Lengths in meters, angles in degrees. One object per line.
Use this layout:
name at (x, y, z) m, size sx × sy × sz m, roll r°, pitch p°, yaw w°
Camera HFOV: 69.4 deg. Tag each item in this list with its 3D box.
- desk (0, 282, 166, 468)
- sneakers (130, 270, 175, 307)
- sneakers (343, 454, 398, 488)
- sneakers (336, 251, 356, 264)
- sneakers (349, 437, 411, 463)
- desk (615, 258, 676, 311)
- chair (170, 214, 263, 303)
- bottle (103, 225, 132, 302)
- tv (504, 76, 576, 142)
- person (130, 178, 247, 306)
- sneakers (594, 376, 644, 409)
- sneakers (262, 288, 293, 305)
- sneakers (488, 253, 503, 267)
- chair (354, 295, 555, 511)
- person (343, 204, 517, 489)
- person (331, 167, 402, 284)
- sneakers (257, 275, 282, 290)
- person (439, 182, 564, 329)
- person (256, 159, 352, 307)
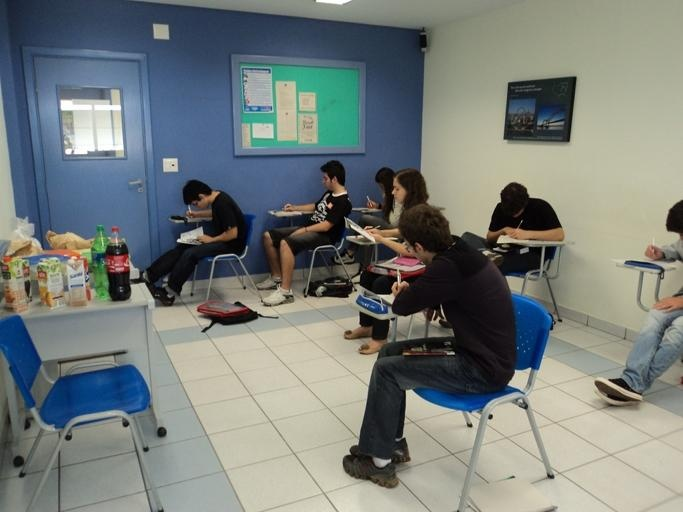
desk at (-1.653, 0.532, 3.317) m, size 1.052 × 1.013 × 0.900 m, roll -7°, pitch 13°, yaw -32°
sneakers at (-1.667, 0.279, 4.353) m, size 0.460 × 0.202 × 0.158 m, roll 31°, pitch 13°, yaw -3°
sneakers at (0.162, 1.210, 2.860) m, size 0.312 × 0.146 × 0.133 m, roll 15°, pitch 15°, yaw 25°
sneakers at (0.045, 0.040, 6.119) m, size 0.248 × 0.126 × 0.109 m, roll 0°, pitch 26°, yaw -9°
sneakers at (0.203, 1.134, 2.976) m, size 0.387 × 0.186 × 0.145 m, roll 4°, pitch 0°, yaw -6°
desk at (2.431, 0.145, 3.970) m, size 0.504 × 0.529 × 0.453 m, roll 0°, pitch 0°, yaw 17°
chair at (-1.313, 0.003, 5.573) m, size 0.632 × 0.904 × 0.543 m, roll 0°, pitch 4°, yaw -21°
bottle at (-1.340, 0.098, 2.939) m, size 0.156 × 0.359 × 0.100 m, roll -6°, pitch 17°, yaw -14°
tv at (2.037, -1.490, 4.990) m, size 0.070 × 0.615 × 0.709 m, roll -2°, pitch 11°, yaw -30°
person at (-1.633, -0.181, 5.407) m, size 1.152 × 1.297 × 0.650 m, roll -6°, pitch 16°, yaw -26°
sneakers at (1.906, 0.942, 3.474) m, size 0.351 × 0.143 × 0.155 m, roll 17°, pitch 53°, yaw 13°
sneakers at (-0.681, 0.444, 5.333) m, size 0.346 × 0.176 × 0.145 m, roll -6°, pitch 10°, yaw -29°
sneakers at (1.244, 0.033, 3.989) m, size 0.134 × 0.051 × 0.102 m, roll 2°, pitch 10°, yaw -13°
chair at (0.655, 0.715, 3.203) m, size 1.012 × 1.399 × 0.987 m, roll -4°, pitch 9°, yaw -20°
person at (0.329, 0.338, 3.708) m, size 1.496 × 2.372 × 0.879 m, roll 3°, pitch 4°, yaw 11°
person at (0.407, -0.503, 6.136) m, size 1.066 × 1.717 × 0.761 m, roll -1°, pitch 53°, yaw -2°
sneakers at (-0.849, 0.304, 5.767) m, size 0.276 × 0.123 × 0.137 m, roll -1°, pitch 7°, yaw -20°
person at (1.584, -0.033, 4.730) m, size 0.930 × 1.346 × 0.767 m, roll -3°, pitch 12°, yaw -36°
person at (-0.453, -0.308, 5.650) m, size 1.156 × 1.527 × 0.965 m, roll -3°, pitch 11°, yaw -23°
